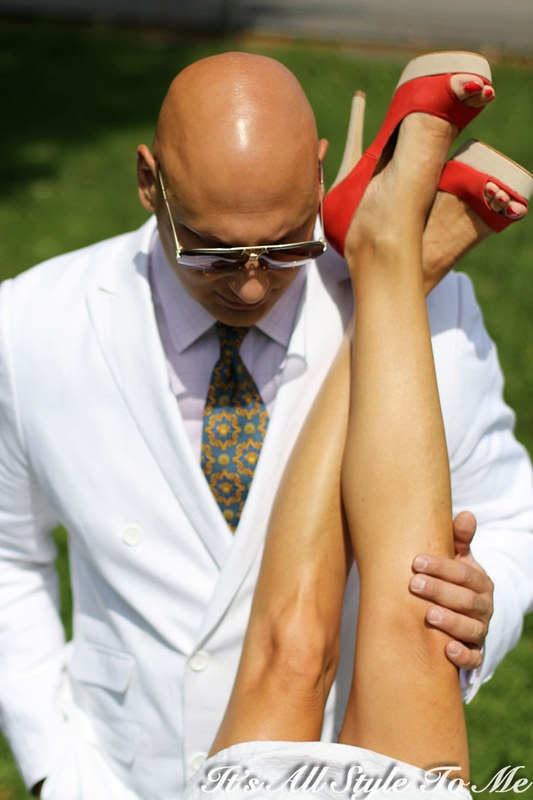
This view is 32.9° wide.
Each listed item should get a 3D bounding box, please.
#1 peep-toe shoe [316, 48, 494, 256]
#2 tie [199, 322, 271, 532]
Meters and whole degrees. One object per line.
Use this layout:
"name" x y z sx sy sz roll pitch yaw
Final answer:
"peep-toe shoe" 0.295 -0.533 1.956 0.213 0.558 0.159 34 24 16
"tie" -0.071 0.072 1.895 0.126 0.026 0.464 2 58 -2
